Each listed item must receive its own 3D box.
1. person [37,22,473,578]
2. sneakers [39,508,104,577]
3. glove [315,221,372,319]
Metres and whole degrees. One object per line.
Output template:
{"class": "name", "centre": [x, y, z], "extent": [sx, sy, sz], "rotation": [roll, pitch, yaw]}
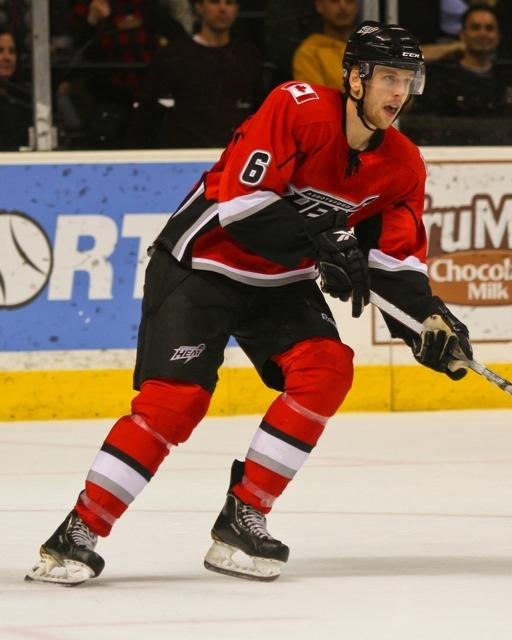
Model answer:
{"class": "person", "centre": [-0.015, -0.038, 1.947], "extent": [0.951, 1.249, 0.336], "rotation": [-2, 10, -11]}
{"class": "sneakers", "centre": [-0.383, 0.482, 1.876], "extent": [0.071, 0.098, 0.204], "rotation": [26, -19, -40]}
{"class": "glove", "centre": [0.193, -0.104, 1.831], "extent": [0.142, 0.171, 0.075], "rotation": [-13, 9, -32]}
